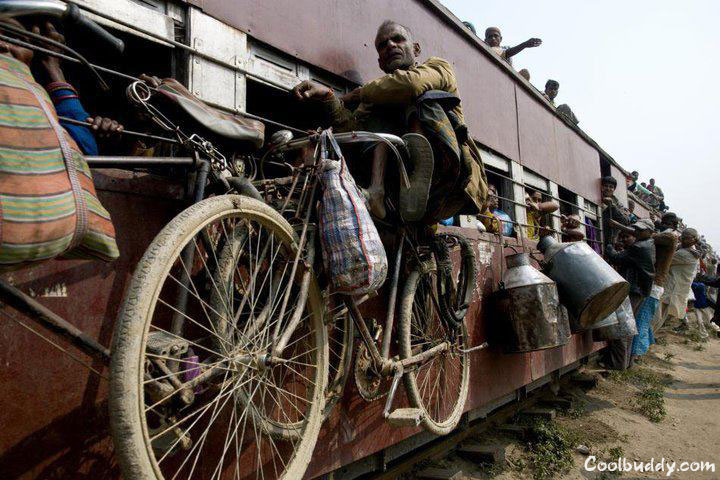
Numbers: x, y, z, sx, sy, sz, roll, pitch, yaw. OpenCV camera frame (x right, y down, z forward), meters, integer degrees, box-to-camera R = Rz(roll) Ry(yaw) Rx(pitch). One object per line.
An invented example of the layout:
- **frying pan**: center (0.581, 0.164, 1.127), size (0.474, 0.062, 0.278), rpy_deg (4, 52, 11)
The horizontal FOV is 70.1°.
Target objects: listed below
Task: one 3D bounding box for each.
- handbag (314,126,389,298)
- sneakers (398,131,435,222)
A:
- **handbag**: center (-0.097, -0.188, 3.420), size (0.579, 1.050, 0.283), rpy_deg (11, 6, 33)
- **sneakers**: center (0.442, -0.493, 4.044), size (0.259, 0.651, 0.214), rpy_deg (4, 5, 21)
